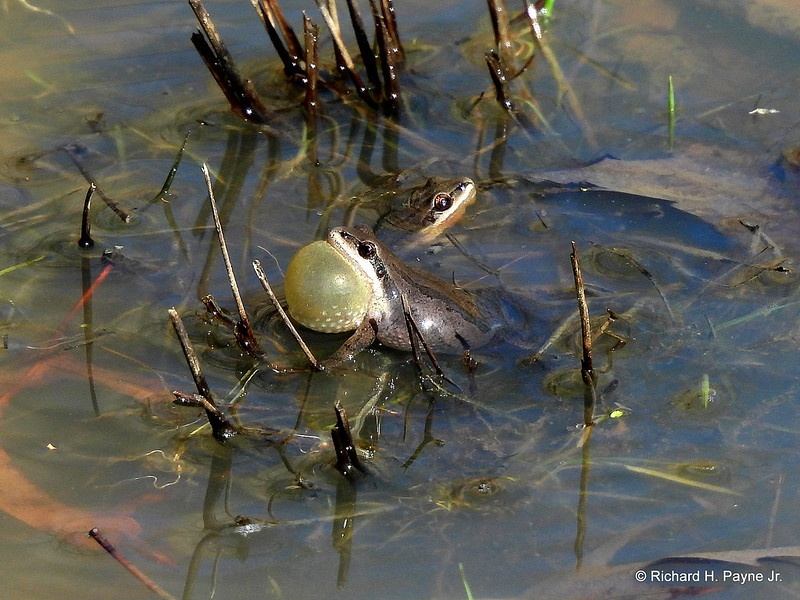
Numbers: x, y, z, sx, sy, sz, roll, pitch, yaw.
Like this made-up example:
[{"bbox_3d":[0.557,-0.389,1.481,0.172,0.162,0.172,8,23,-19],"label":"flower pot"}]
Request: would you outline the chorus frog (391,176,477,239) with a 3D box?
[{"bbox_3d":[0.260,-0.637,5.833,0.716,0.268,0.325,-11,72,16],"label":"chorus frog"}]
